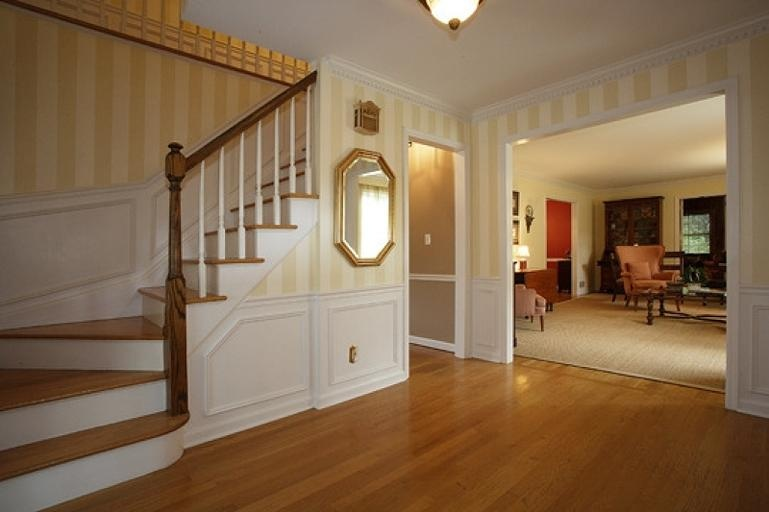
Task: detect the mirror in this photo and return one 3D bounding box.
[{"bbox_3d":[-0.242,-0.509,5.423,0.110,1.764,1.152,-3,-4,40],"label":"mirror"}]

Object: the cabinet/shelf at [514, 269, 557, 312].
[{"bbox_3d":[2.551,0.618,8.822,0.351,0.748,1.100,-5,0,42],"label":"cabinet/shelf"}]

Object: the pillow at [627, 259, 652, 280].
[{"bbox_3d":[4.909,0.280,10.000,0.405,0.280,0.583,2,7,33],"label":"pillow"}]

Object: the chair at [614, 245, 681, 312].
[{"bbox_3d":[4.957,0.368,9.882,0.982,1.231,1.071,-3,-5,37],"label":"chair"}]

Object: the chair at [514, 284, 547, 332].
[{"bbox_3d":[2.093,0.744,7.720,0.610,0.877,0.654,-1,1,11],"label":"chair"}]

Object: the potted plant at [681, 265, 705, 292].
[{"bbox_3d":[4.952,0.370,8.307,0.273,0.343,0.313,3,-3,45],"label":"potted plant"}]

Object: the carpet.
[{"bbox_3d":[3.377,1.120,7.511,2.622,0.122,3.877,2,7,33],"label":"carpet"}]
